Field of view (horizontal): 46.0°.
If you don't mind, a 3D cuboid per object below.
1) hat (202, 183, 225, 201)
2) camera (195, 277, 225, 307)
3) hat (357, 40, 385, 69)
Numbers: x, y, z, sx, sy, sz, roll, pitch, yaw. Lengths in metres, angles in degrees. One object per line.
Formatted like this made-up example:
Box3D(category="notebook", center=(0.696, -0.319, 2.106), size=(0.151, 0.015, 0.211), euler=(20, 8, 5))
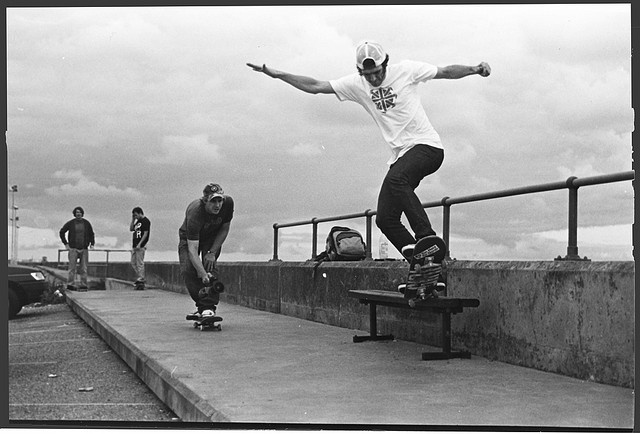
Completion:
Box3D(category="hat", center=(-1.293, -0.303, 9.211), size=(0.271, 0.222, 0.221), euler=(-9, 14, -20))
Box3D(category="camera", center=(-1.394, 0.927, 9.512), size=(0.189, 0.225, 0.484), euler=(11, -14, -21))
Box3D(category="hat", center=(0.524, -1.705, 8.005), size=(0.308, 0.441, 0.257), euler=(-1, -28, 3))
